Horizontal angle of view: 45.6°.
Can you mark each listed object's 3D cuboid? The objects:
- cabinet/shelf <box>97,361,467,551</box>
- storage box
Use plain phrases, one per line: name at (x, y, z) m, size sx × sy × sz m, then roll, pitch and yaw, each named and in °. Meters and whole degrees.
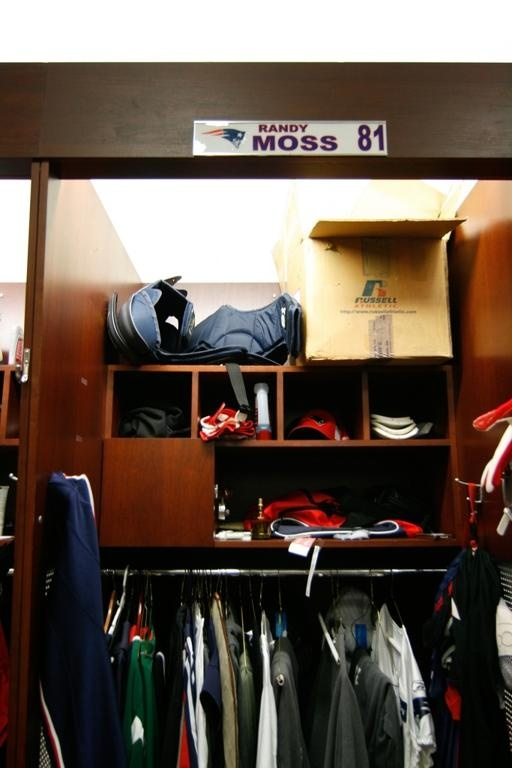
cabinet/shelf at (0.076, 0.239, 2.137) m, size 1.167 × 0.600 × 0.493 m, roll 1°, pitch -3°, yaw -3°
storage box at (0.365, -0.289, 1.908) m, size 0.296 × 0.386 × 0.480 m, roll 0°, pitch -11°, yaw -1°
